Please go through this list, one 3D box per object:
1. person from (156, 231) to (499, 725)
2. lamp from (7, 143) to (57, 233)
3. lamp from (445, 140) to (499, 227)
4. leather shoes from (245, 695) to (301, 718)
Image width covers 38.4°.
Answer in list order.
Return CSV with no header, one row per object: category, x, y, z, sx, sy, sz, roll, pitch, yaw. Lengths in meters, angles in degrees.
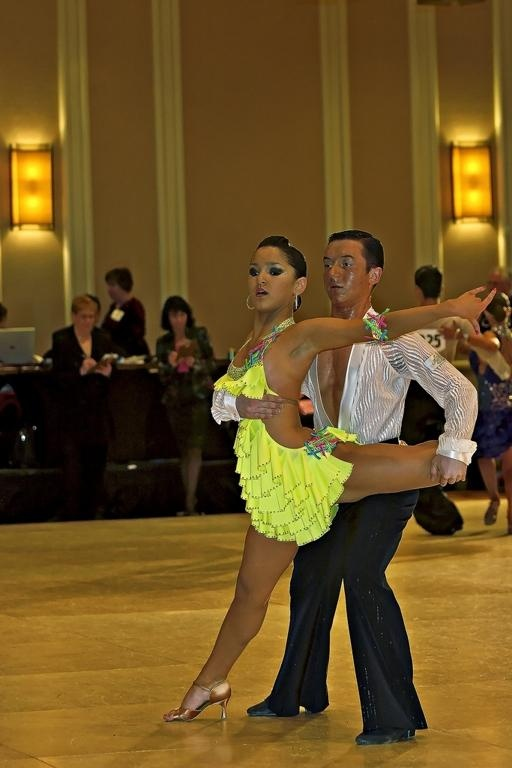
person,0.133,0.233,1.687,0.747,1.174,0.295,-2,-2,35
lamp,-1.889,-1.649,6.169,0.343,0.691,0.085,-1,-2,-18
lamp,2.054,-1.899,6.946,0.487,0.768,0.104,0,-2,-24
leather shoes,0.045,0.811,1.869,0.149,0.051,0.046,1,-2,4
